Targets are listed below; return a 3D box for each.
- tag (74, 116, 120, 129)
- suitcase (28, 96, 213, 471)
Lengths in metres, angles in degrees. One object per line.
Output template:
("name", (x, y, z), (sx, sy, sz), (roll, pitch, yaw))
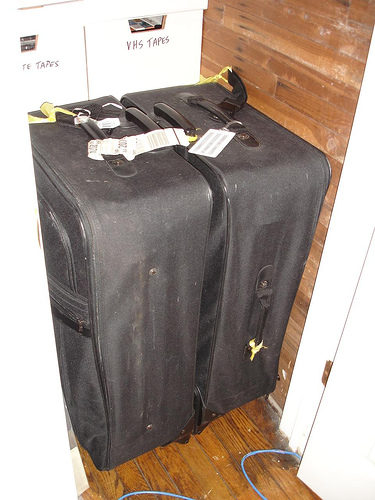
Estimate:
("tag", (-0.174, -0.243, 0.833), (0.067, 0.017, 0.037), (12, 32, -13))
("suitcase", (-0.152, 0.106, 0.912), (0.281, 0.731, 0.342), (-17, 36, -31))
